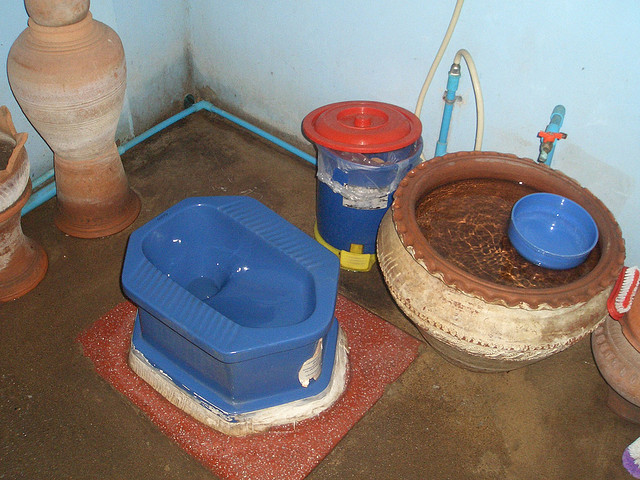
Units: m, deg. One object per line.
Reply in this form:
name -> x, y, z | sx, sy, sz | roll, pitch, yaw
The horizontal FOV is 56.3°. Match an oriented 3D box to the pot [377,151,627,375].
pot -> 0.813, 0.087, 2.576 | 0.841, 0.522, 0.819 | 3, 36, -2

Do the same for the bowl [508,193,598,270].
bowl -> 0.970, -0.043, 2.462 | 0.310, 0.131, 0.342 | -10, 60, 2

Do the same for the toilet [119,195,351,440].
toilet -> -0.404, 0.332, 2.910 | 1.120, 0.576, 0.904 | 32, 47, 26

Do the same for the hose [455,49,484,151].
hose -> 0.745, -0.675, 3.057 | 0.170, 0.544, 0.035 | -13, 17, -22
